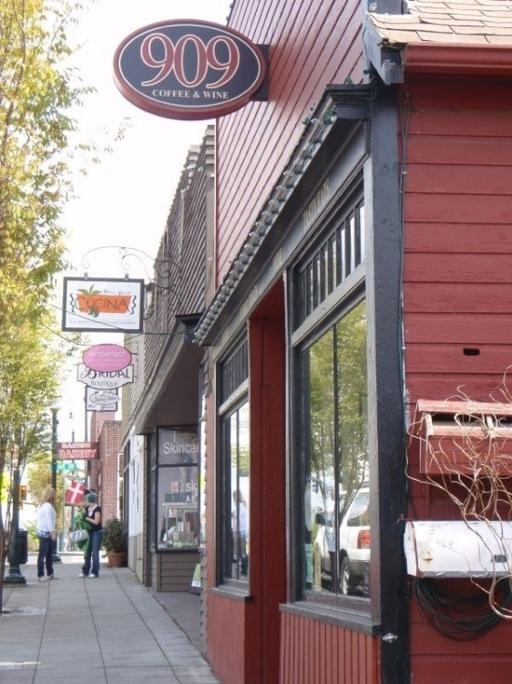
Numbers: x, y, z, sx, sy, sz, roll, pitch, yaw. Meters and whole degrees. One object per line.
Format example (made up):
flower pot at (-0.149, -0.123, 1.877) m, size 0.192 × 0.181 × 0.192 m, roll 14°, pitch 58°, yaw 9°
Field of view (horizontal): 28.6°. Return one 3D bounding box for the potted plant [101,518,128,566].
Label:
potted plant at (-3.288, 4.733, 23.566) m, size 0.555 × 1.138 × 0.843 m, roll 3°, pitch -12°, yaw -16°

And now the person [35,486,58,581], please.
person at (-3.760, 3.444, 17.913) m, size 0.320 × 1.602 × 1.775 m, roll 2°, pitch -13°, yaw -11°
